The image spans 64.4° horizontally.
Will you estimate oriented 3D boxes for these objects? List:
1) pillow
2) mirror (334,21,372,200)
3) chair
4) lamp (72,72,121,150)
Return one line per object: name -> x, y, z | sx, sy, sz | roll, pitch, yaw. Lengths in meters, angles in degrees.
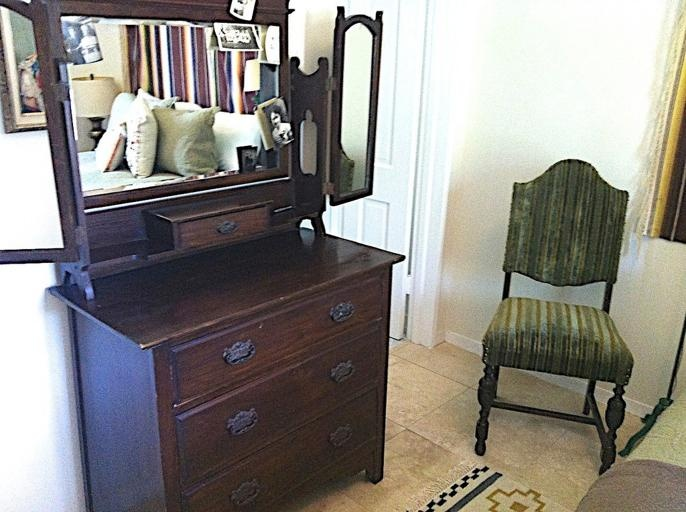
pillow -> -0.579, -0.399, 1.831 | 0.313, 0.298, 0.093 | -8, 26, -41
mirror -> 0.050, -0.576, 2.182 | 0.043, 0.656, 0.172 | 17, 27, 37
chair -> 1.025, 0.240, 2.541 | 0.669, 1.308, 0.741 | 7, 22, 17
lamp -> -0.751, -0.452, 1.678 | 0.127, 0.208, 0.030 | -19, 29, -41
